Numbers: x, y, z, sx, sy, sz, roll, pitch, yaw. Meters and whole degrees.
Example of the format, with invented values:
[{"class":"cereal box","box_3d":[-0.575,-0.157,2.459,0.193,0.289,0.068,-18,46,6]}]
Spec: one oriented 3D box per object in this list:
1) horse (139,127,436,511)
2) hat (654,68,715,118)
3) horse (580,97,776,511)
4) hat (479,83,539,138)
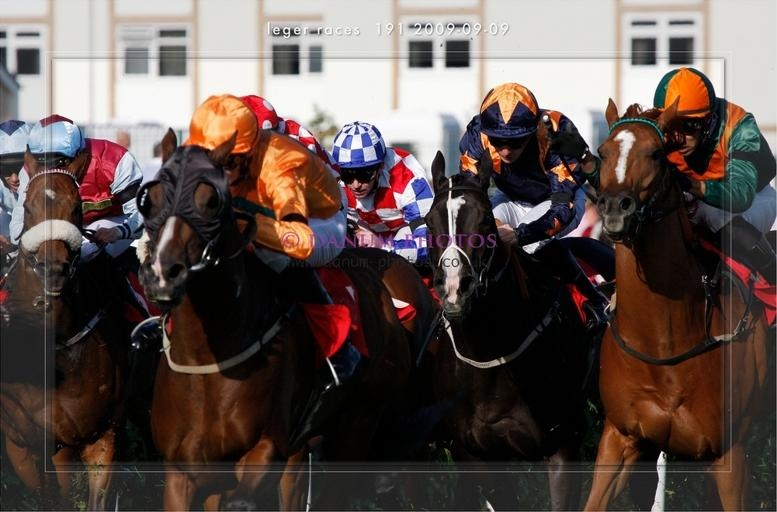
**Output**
[{"class":"horse","box_3d":[-0.702,0.442,8.240,0.738,2.424,2.146,5,7,34]},{"class":"hat","box_3d":[1.928,-1.073,8.531,0.371,0.258,0.473,7,29,15]},{"class":"horse","box_3d":[1.774,0.396,8.062,1.109,2.454,0.577,1,6,-3]},{"class":"hat","box_3d":[0.825,-1.016,8.960,0.419,0.211,0.553,6,38,18]}]
